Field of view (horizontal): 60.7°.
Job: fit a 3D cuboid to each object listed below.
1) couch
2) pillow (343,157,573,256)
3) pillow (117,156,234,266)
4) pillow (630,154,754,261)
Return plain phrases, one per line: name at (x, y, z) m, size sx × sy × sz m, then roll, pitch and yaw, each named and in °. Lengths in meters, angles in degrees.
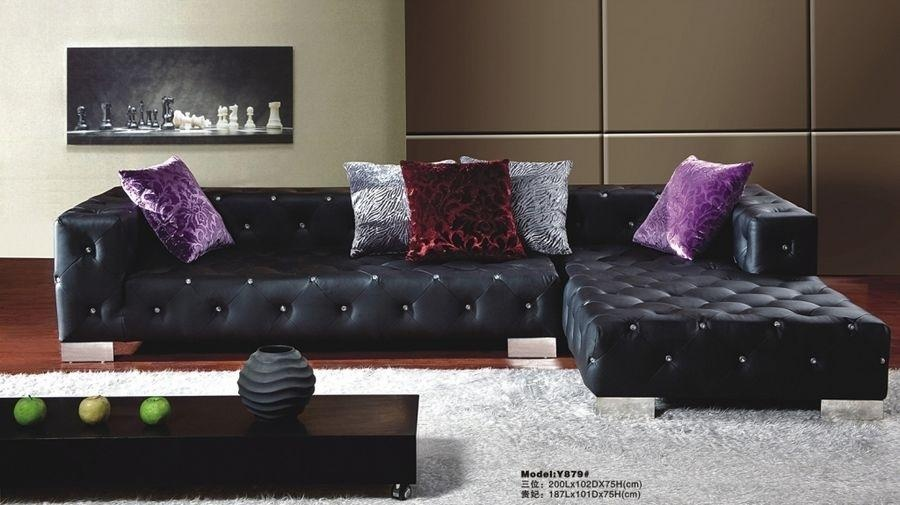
couch at (-0.140, 0.014, 8.549) m, size 9.780 × 1.927 × 3.166 m, roll 0°, pitch 5°, yaw -3°
pillow at (0.080, -0.352, 5.610) m, size 1.558 × 0.904 × 0.955 m, roll -1°, pitch 6°, yaw -4°
pillow at (-1.927, -0.302, 5.408) m, size 0.261 × 0.787 × 0.756 m, roll -37°, pitch 4°, yaw 24°
pillow at (1.708, -0.321, 5.448) m, size 0.268 × 0.718 × 0.832 m, roll 27°, pitch -1°, yaw -29°
